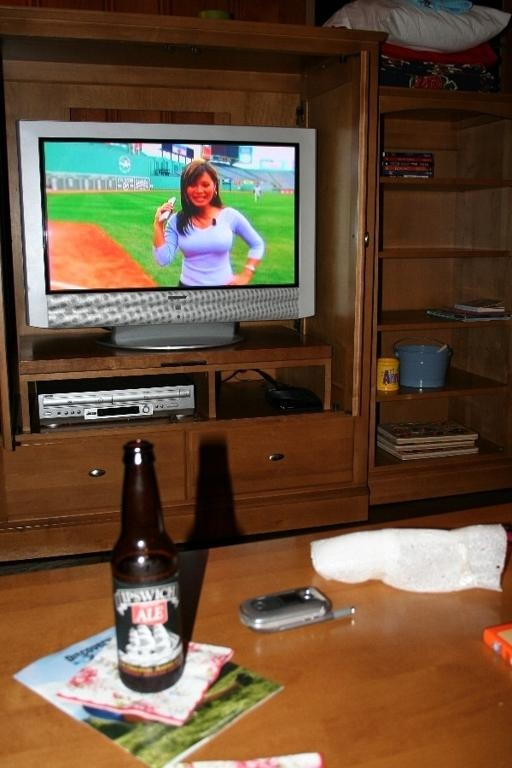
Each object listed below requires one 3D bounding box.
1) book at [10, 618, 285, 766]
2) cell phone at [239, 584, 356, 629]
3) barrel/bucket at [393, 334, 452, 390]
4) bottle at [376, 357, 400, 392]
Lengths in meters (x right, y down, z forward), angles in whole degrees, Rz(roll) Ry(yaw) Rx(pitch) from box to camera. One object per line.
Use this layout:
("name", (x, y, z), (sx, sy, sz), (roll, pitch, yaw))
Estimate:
("book", (-0.115, 0.299, 0.612), (0.232, 0.009, 0.156), (2, 5, 38))
("cell phone", (0.054, 0.266, 0.750), (0.106, 0.021, 0.052), (-3, 1, -8))
("barrel/bucket", (0.642, -0.085, 2.360), (0.184, 0.178, 0.205), (0, 10, 3))
("bottle", (0.480, -0.032, 2.227), (0.081, 0.120, 0.086), (-3, 18, 1))
